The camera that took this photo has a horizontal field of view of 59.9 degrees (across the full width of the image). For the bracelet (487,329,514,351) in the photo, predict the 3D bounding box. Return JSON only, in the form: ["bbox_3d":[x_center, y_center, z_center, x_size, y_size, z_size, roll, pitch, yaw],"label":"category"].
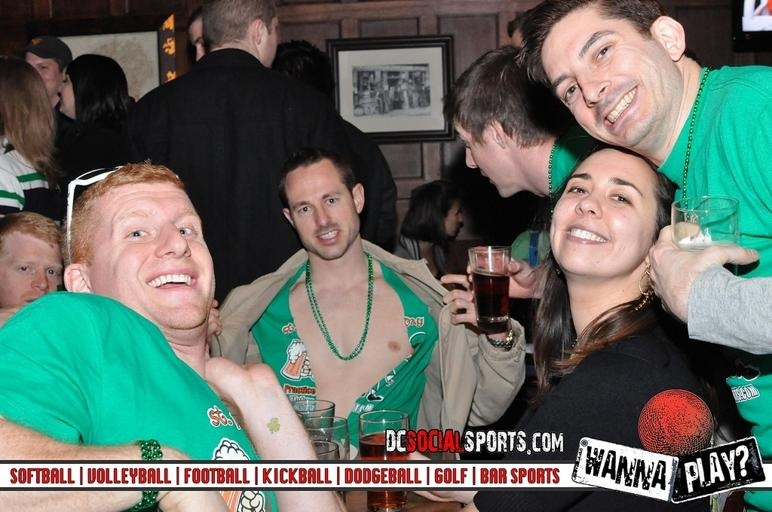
[{"bbox_3d":[0.478,0.347,2.755,0.076,0.048,0.094,-4,3,20],"label":"bracelet"}]

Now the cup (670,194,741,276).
[{"bbox_3d":[0.946,-0.086,1.982,0.171,0.128,0.173,-6,13,2],"label":"cup"}]

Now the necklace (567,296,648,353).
[{"bbox_3d":[0.756,0.243,2.276,0.224,0.069,0.182,-33,-6,-6],"label":"necklace"}]

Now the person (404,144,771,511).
[{"bbox_3d":[0.579,0.248,2.749,1.124,1.526,1.001,0,0,-3],"label":"person"}]

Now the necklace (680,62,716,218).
[{"bbox_3d":[1.009,-0.381,2.170,0.038,0.531,0.076,-2,14,-19],"label":"necklace"}]
